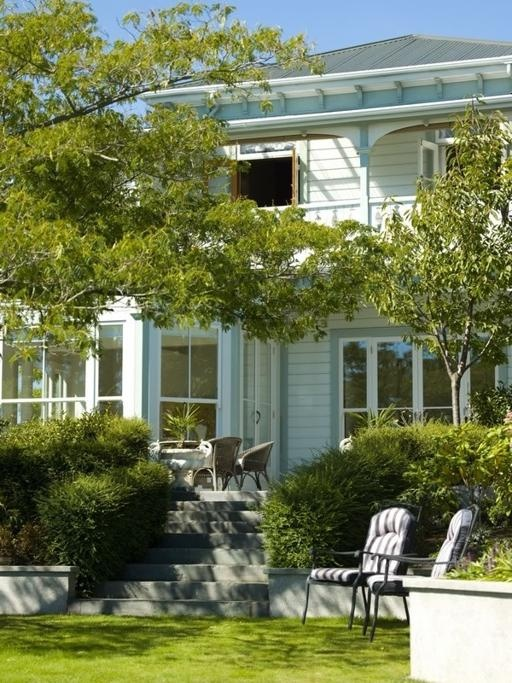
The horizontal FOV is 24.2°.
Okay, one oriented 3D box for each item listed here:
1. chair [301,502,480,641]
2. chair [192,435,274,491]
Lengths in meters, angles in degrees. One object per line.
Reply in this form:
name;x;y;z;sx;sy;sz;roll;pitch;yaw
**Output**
chair;1.101;1.935;10.114;1.131;1.002;1.724;-3;-7;-19
chair;-0.254;1.474;14.899;0.824;1.074;0.763;0;5;-33
